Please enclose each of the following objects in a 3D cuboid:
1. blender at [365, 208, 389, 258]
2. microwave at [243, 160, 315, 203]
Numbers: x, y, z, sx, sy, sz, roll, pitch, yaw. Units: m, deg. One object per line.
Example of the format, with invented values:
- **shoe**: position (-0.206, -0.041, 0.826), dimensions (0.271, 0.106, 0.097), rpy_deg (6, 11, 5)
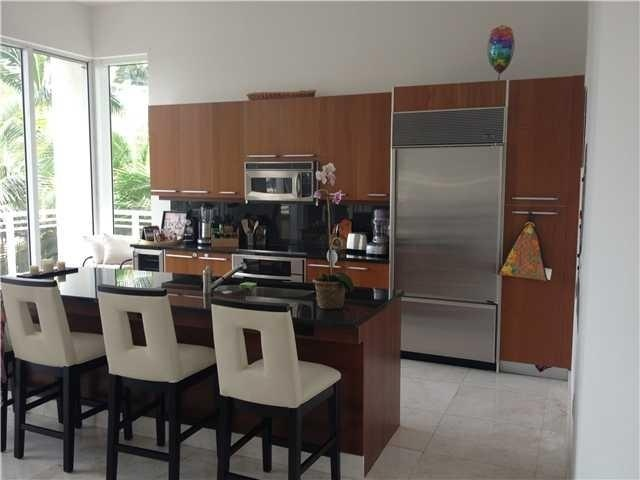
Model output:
- **blender**: position (0.638, -0.078, 5.156), dimensions (0.298, 0.471, 0.289), rpy_deg (5, 3, -40)
- **microwave**: position (-0.381, -0.603, 5.481), dimensions (0.819, 0.503, 0.414), rpy_deg (1, -3, 27)
